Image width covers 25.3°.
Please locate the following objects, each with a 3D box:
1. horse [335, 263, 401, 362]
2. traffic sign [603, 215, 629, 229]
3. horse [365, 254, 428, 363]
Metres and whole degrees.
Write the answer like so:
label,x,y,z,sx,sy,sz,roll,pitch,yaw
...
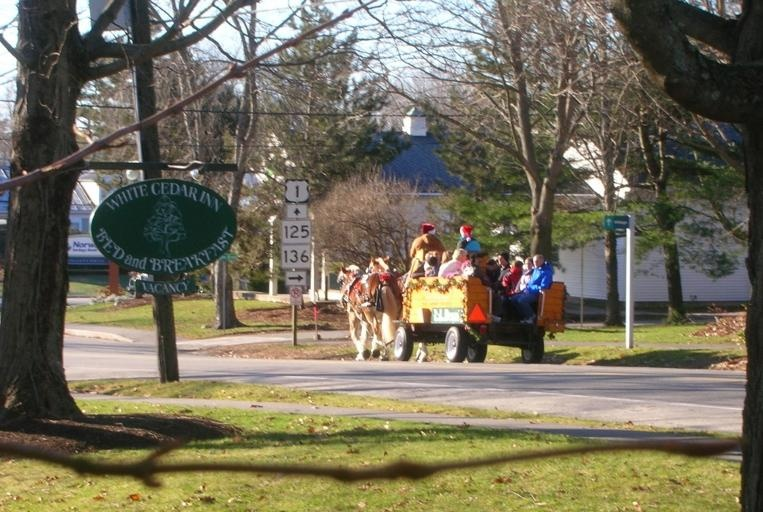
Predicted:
label,x,y,z,sx,sy,sz,roll,pitch,yaw
horse,-0.290,1.415,44.997,1.086,2.746,4.423,0,-6,-14
traffic sign,5.883,-0.874,42.112,0.627,0.347,0.325,1,4,14
horse,-0.355,1.342,43.192,1.468,2.614,2.881,2,-2,-14
